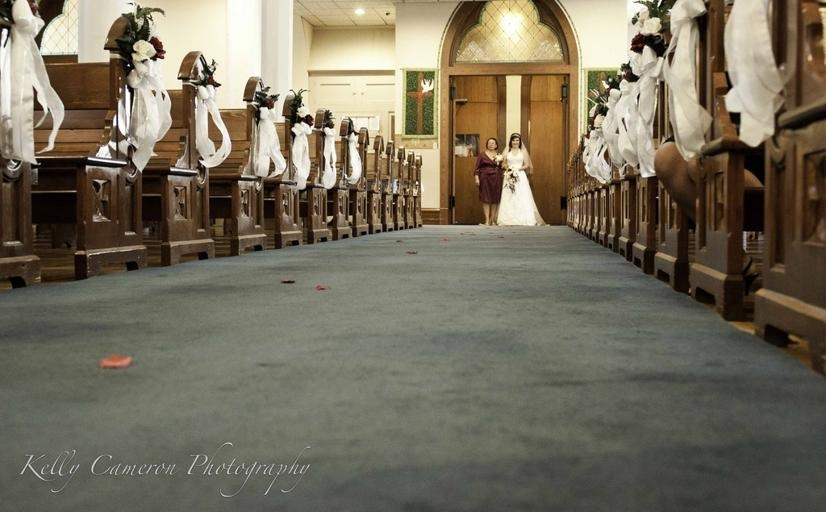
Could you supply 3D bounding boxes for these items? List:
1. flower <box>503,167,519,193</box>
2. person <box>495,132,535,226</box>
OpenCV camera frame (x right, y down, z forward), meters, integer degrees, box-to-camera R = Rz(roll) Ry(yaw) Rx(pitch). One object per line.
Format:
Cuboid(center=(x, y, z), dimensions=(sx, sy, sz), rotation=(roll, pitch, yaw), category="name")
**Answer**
Cuboid(center=(2.445, -1.890, 14.258), dimensions=(0.517, 0.597, 0.475), rotation=(0, -4, -35), category="flower")
Cuboid(center=(2.613, -1.812, 14.519), dimensions=(0.867, 2.005, 0.612), rotation=(0, 6, 3), category="person")
